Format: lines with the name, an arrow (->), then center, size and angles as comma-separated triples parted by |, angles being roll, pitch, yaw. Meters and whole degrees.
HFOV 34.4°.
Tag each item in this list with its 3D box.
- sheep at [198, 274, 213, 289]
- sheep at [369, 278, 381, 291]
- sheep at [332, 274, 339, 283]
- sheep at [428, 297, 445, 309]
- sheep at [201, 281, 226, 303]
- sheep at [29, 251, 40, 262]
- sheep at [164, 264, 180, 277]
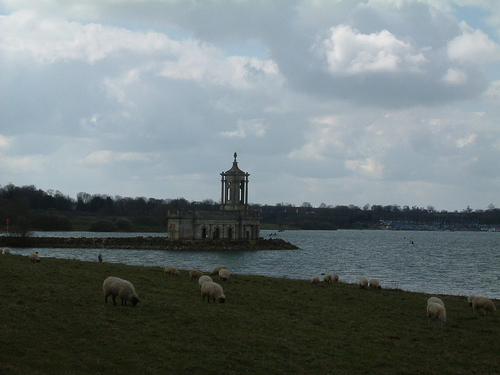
sheep -> -4.088, 8.031, 69.426 | 0.718, 1.092, 1.637 | 3, -11, -33
sheep -> 11.922, 9.318, 77.364 | 1.080, 0.927, 2.228 | 2, 0, 7
sheep -> 8.471, 9.196, 81.090 | 0.617, 0.698, 1.581 | 1, 0, 4
sheep -> 15.237, 9.490, 66.556 | 0.577, 0.886, 1.324 | -1, 11, -28
sheep -> -3.067, 8.792, 66.825 | 2.592, 1.841, 1.126 | 11, 19, 41
sheep -> -20.445, 6.623, 76.236 | 0.748, 0.905, 1.589 | 2, 0, -22
sheep -> -7.475, 7.947, 76.081 | 1.479, 1.022, 1.243 | 2, 0, -6
